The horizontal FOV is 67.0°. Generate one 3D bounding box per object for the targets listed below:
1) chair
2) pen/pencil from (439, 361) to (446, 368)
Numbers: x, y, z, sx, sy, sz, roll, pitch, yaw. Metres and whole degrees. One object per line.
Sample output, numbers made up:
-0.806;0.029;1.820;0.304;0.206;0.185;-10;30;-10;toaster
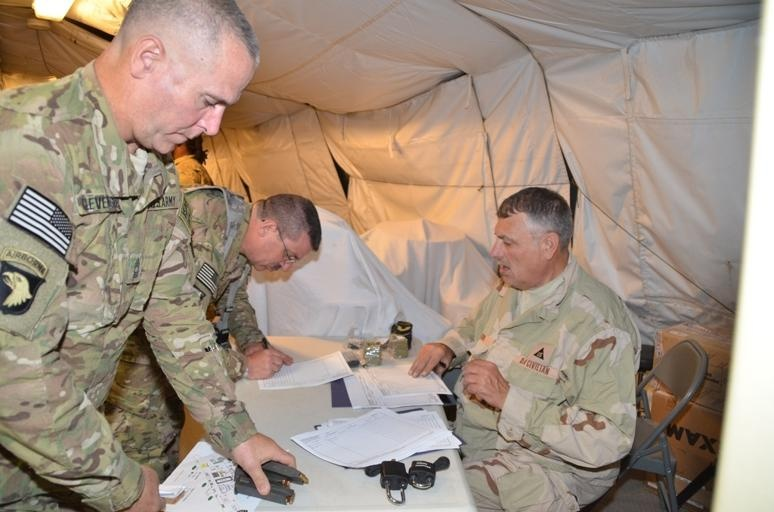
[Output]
1.136;0.702;2.926;0.687;0.973;0.660;8;20;20;chair
0.273;0.521;2.848;0.023;0.031;0.011;8;-11;8;pen/pencil
